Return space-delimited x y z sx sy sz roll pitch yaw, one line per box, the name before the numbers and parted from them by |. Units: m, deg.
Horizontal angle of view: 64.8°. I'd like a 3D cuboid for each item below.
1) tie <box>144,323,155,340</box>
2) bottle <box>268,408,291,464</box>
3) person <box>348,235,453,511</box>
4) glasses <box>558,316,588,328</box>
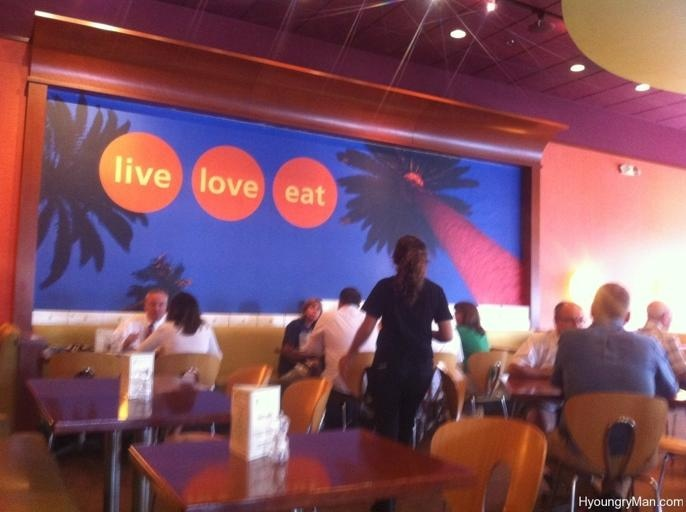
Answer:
tie | -1.677 0.642 4.677 0.091 0.152 0.056 -1 -19 35
bottle | -0.242 0.675 2.077 0.072 0.152 0.236 1 -1 -6
person | 0.415 0.515 3.523 0.615 1.301 0.513 1 -1 -1
glasses | 1.719 0.504 4.043 0.110 0.084 0.145 1 -9 5
